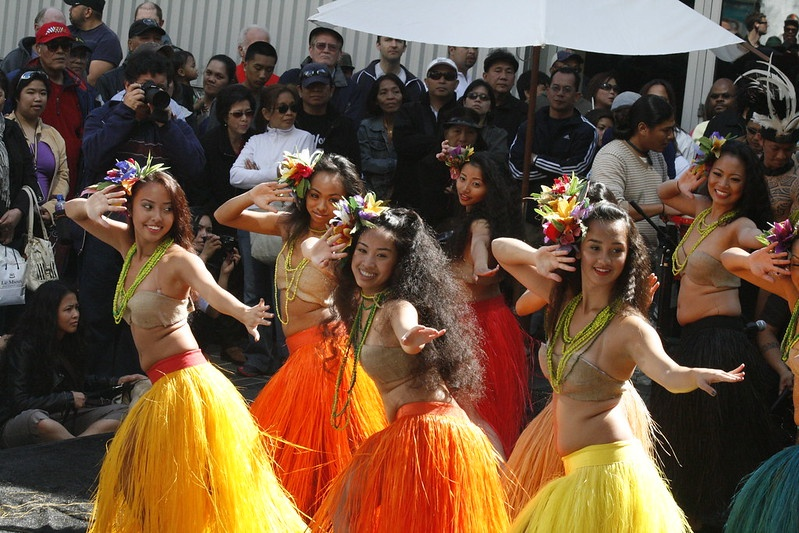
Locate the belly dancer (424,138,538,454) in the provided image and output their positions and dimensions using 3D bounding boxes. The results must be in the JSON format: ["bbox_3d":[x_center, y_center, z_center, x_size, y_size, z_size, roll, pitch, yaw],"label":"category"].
[{"bbox_3d":[0.666,0.248,5.574,0.725,1.762,0.882,2,-5,-20],"label":"belly dancer"}]

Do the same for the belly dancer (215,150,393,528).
[{"bbox_3d":[-0.592,0.593,5.199,0.837,2.432,0.833,-3,-1,14],"label":"belly dancer"}]

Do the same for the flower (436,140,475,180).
[{"bbox_3d":[0.381,-0.712,5.920,0.243,0.263,0.263,9,-6,-7],"label":"flower"}]

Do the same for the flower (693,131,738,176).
[{"bbox_3d":[2.020,-0.650,5.308,0.107,0.239,0.237,23,10,-5],"label":"flower"}]

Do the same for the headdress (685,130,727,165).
[{"bbox_3d":[1.975,-0.697,5.261,0.081,0.193,0.206,21,51,-6],"label":"headdress"}]

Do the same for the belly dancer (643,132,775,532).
[{"bbox_3d":[2.056,0.461,5.566,1.013,2.078,1.132,1,1,12],"label":"belly dancer"}]
